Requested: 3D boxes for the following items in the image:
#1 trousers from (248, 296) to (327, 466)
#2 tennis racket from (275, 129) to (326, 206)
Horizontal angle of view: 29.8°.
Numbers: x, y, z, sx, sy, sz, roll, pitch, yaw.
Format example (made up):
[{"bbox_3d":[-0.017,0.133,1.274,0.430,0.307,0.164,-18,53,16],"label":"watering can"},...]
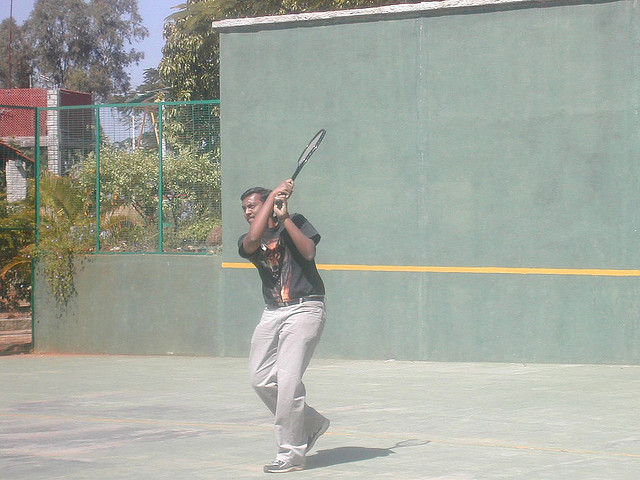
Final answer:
[{"bbox_3d":[-0.385,1.686,14.366,0.891,1.930,0.770,-2,13,-1],"label":"trousers"},{"bbox_3d":[-0.384,-0.829,15.241,0.114,1.244,0.343,23,20,-20],"label":"tennis racket"}]
